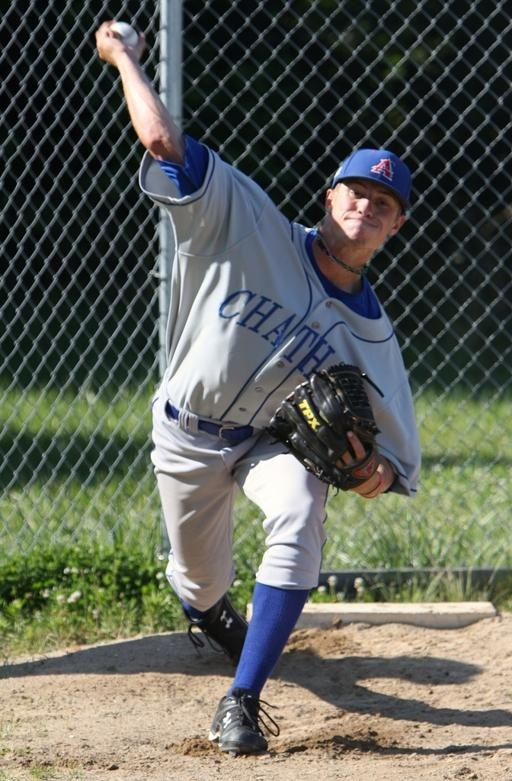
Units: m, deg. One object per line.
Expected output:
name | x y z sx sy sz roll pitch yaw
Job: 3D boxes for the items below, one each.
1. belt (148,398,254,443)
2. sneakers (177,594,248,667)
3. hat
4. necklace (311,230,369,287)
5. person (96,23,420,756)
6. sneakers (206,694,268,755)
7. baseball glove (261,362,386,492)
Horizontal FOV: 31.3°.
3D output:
belt | -0.125 0.091 2.457 0.167 0.045 0.121 19 6 -2
sneakers | -0.151 0.713 2.881 0.247 0.155 0.077 -5 20 46
hat | 0.324 -0.573 2.417 0.200 0.106 0.207 19 7 15
necklace | 0.245 -0.368 2.440 0.144 0.034 0.126 41 -13 -18
person | 0.094 0.021 2.391 0.749 1.492 1.005 -5 29 -32
sneakers | -0.039 0.796 2.139 0.106 0.182 0.139 5 24 -14
baseball glove | 0.192 0.099 2.244 0.123 0.213 0.264 36 33 -62
